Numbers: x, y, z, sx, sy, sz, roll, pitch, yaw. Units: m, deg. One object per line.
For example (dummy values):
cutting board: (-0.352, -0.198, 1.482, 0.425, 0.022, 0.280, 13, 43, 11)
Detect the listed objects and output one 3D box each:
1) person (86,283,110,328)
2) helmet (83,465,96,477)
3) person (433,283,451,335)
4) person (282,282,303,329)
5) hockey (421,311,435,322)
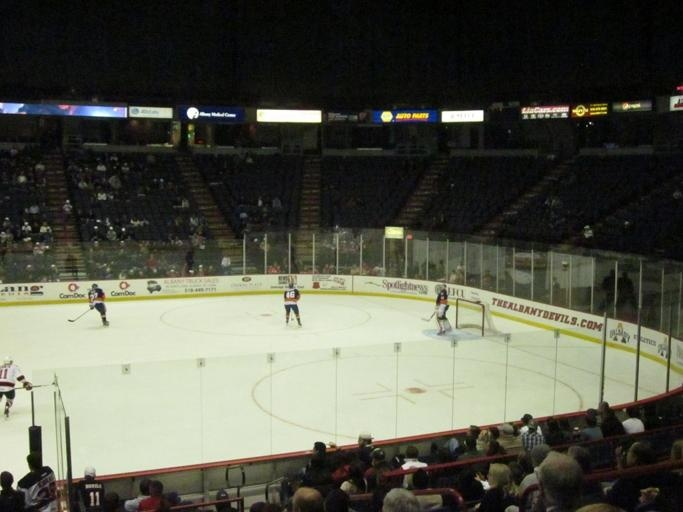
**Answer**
person: (-8.638, 1.707, 27.132, 0.624, 1.511, 3.412, -1, -2, -18)
helmet: (-4.759, 4.075, 14.360, 0.193, 0.180, 0.303, 3, 6, -12)
person: (3.409, 1.770, 25.377, 0.455, 1.673, 0.985, -2, -2, 7)
person: (-1.705, 1.665, 26.831, 0.571, 1.591, 2.248, -1, -2, -4)
hockey: (3.184, 2.241, 27.909, 0.314, 0.313, 0.085, -2, 4, -2)
